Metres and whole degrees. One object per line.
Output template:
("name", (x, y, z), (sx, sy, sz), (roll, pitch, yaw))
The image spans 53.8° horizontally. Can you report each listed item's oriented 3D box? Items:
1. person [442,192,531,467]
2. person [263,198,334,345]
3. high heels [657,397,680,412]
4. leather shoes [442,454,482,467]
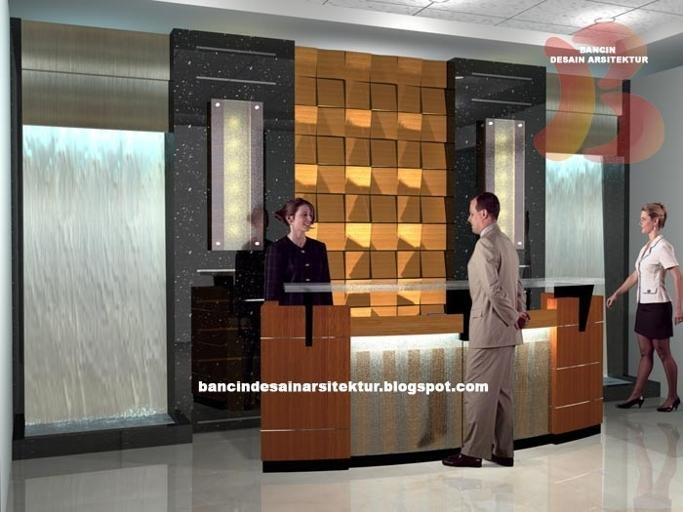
("person", (1.336, 0.669, 5.842), (0.514, 2.411, 0.487), (2, 8, 14))
("person", (-0.402, 0.228, 6.618), (0.555, 1.648, 0.413), (-4, 24, -12))
("high heels", (3.709, 1.695, 7.645), (0.240, 0.147, 0.135), (2, -5, 1))
("leather shoes", (1.073, 1.770, 5.889), (0.298, 0.134, 0.145), (3, -6, 11))
